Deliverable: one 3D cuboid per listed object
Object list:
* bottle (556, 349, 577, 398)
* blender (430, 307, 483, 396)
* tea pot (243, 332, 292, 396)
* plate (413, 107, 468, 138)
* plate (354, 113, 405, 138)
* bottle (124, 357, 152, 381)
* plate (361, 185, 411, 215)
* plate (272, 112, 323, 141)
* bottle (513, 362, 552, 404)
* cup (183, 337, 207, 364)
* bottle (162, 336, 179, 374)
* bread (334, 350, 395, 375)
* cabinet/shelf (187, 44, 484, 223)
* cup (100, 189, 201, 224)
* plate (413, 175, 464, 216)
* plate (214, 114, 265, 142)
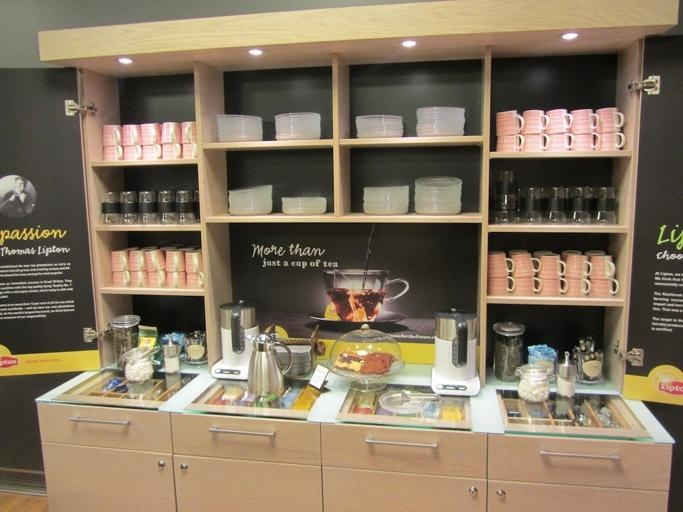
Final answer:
[{"bbox_3d":[1.202,0.623,2.761,0.098,0.215,0.178,1,6,22],"label":"bottle"},{"bbox_3d":[0.606,0.517,2.771,0.350,0.414,0.422,0,7,3],"label":"blender"},{"bbox_3d":[-0.404,0.598,2.979,0.357,0.364,0.257,0,0,-17],"label":"tea pot"},{"bbox_3d":[0.526,-0.713,2.802,0.209,0.103,0.192,-1,7,-3],"label":"plate"},{"bbox_3d":[0.186,-0.689,2.817,0.174,0.059,0.168,-6,9,-37],"label":"plate"},{"bbox_3d":[-1.154,0.644,2.992,0.153,0.125,0.139,1,-1,-2],"label":"bottle"},{"bbox_3d":[0.244,-0.303,2.855,0.194,0.109,0.191,4,6,36],"label":"plate"},{"bbox_3d":[-0.248,-0.711,2.847,0.201,0.100,0.192,3,7,25],"label":"plate"},{"bbox_3d":[1.004,0.668,2.775,0.205,0.189,0.160,-2,0,30],"label":"bottle"},{"bbox_3d":[-0.883,0.573,3.140,0.167,0.136,0.137,-1,-2,21],"label":"cup"},{"bbox_3d":[-1.030,0.591,3.115,0.085,0.189,0.165,-5,6,-27],"label":"bottle"},{"bbox_3d":[0.129,0.573,2.798,0.316,0.111,0.108,-1,6,0],"label":"bread"},{"bbox_3d":[-0.005,-0.633,2.869,1.687,0.854,0.296,3,13,18],"label":"cabinet/shelf"},{"bbox_3d":[-1.148,-0.292,3.115,0.582,0.198,0.168,0,6,13],"label":"cup"},{"bbox_3d":[0.515,-0.322,2.807,0.253,0.158,0.233,1,1,-2],"label":"plate"},{"bbox_3d":[-0.574,-0.715,2.900,0.222,0.085,0.157,-1,5,-5],"label":"plate"}]
